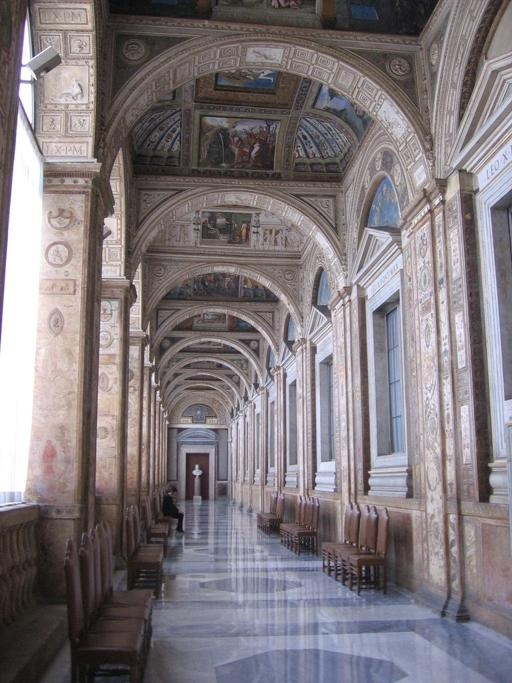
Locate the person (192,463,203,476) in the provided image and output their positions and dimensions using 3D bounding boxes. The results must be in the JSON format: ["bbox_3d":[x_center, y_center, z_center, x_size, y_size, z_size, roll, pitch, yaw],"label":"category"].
[{"bbox_3d":[-4.069,8.969,40.148,0.740,0.925,1.250,0,-13,-3],"label":"person"}]
